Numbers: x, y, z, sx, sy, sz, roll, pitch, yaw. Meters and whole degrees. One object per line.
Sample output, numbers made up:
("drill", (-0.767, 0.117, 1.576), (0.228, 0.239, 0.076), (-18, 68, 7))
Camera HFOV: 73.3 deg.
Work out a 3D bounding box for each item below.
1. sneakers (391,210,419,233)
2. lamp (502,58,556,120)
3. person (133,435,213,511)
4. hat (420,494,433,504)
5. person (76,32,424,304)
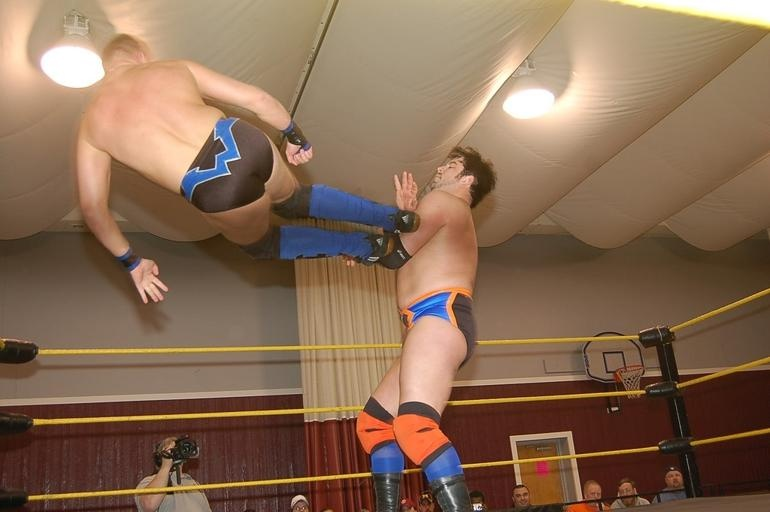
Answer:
("sneakers", (0.117, -0.192, 2.802), (0.120, 0.119, 0.121), (-1, 4, -2))
("lamp", (1.452, -1.754, 5.434), (0.489, 0.526, 0.496), (-2, -43, 4))
("person", (-1.752, 1.838, 4.330), (0.550, 0.648, 0.720), (3, -5, -23))
("hat", (0.473, 2.839, 6.093), (0.103, 0.134, 0.120), (-4, 28, 6))
("person", (-1.070, -0.762, 4.095), (2.159, 1.450, 1.161), (14, -23, -9))
